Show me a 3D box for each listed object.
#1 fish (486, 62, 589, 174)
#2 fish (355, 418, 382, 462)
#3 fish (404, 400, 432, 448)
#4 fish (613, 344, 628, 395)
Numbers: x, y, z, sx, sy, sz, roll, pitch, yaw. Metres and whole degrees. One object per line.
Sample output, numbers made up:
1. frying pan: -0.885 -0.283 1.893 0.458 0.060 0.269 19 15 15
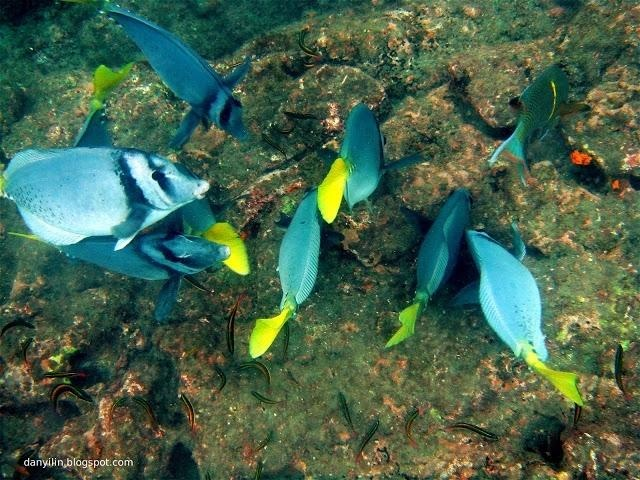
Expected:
1. fish: 2.219 -1.322 8.167 0.853 0.650 1.320 23 72 47
2. fish: 0.543 2.212 8.640 0.516 0.087 0.105 -49 47 12
3. fish: 1.030 1.996 8.575 0.293 0.081 0.440 43 85 4
4. fish: 3.199 1.360 8.279 0.137 0.200 0.491 3 77 12
